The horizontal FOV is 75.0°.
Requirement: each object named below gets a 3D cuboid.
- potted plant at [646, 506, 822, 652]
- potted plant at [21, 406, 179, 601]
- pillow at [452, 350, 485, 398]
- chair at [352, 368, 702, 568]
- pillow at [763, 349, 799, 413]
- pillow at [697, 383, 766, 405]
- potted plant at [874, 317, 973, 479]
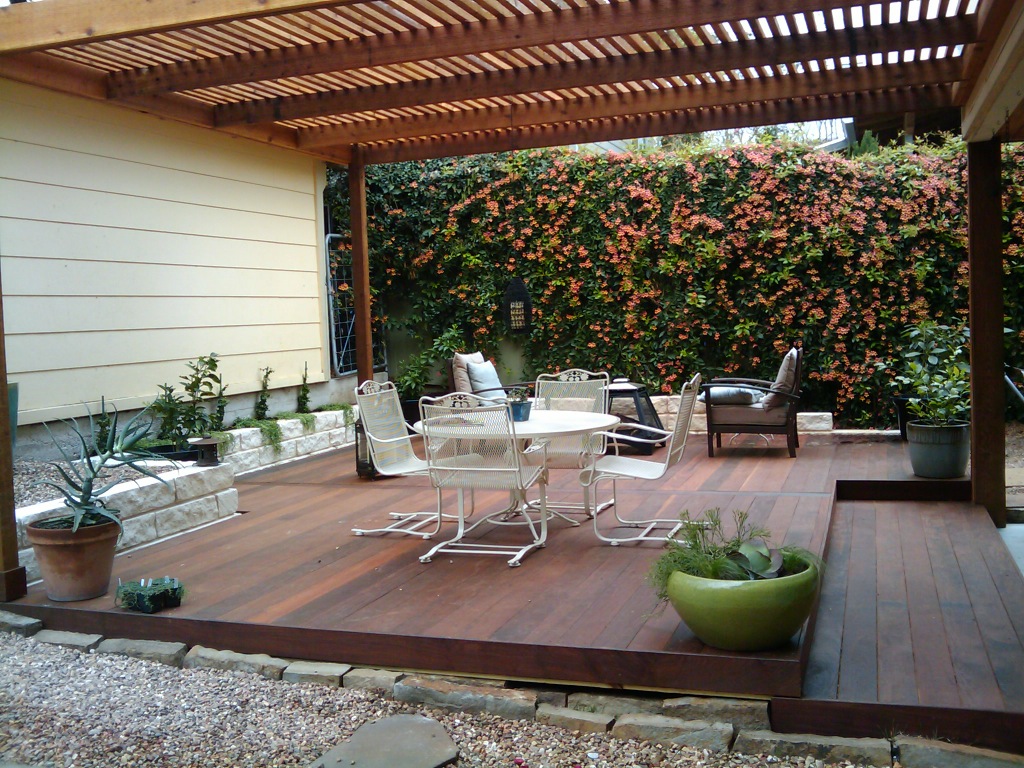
[{"bbox_3d":[0.919,0.818,2.926,0.682,0.396,0.643,-1,-1,-34],"label":"potted plant"},{"bbox_3d":[-2.405,0.722,3.829,0.621,0.966,0.523,-18,19,-38],"label":"potted plant"},{"bbox_3d":[-0.496,-0.112,7.683,0.213,0.379,0.577,9,8,22],"label":"pillow"},{"bbox_3d":[0.030,0.532,4.560,1.767,0.672,1.668,0,3,23],"label":"chair"},{"bbox_3d":[2.956,-0.035,7.320,0.306,0.462,0.666,9,-32,8],"label":"pillow"},{"bbox_3d":[2.341,0.108,7.180,0.405,0.123,0.382,6,5,25],"label":"pillow"},{"bbox_3d":[4.035,0.128,6.594,0.813,1.315,2.385,3,16,30],"label":"potted plant"}]
